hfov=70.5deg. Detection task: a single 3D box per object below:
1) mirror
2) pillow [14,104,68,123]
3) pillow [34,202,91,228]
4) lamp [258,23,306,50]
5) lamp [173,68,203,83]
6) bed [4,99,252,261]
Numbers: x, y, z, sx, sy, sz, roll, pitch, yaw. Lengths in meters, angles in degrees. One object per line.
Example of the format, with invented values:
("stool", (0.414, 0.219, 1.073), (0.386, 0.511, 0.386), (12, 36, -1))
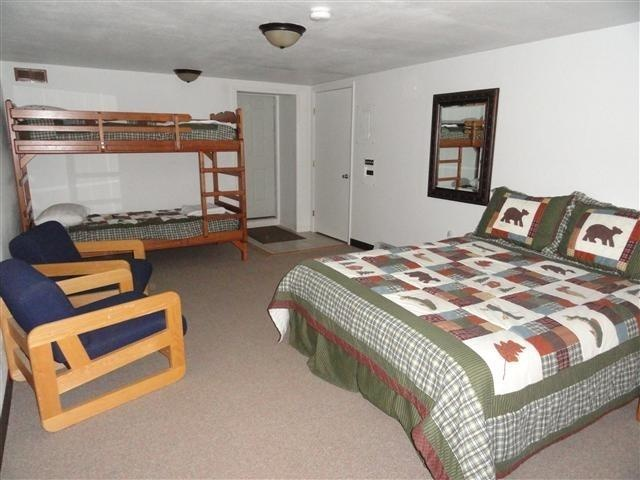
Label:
("mirror", (1.523, -1.000, 4.875), (0.188, 1.175, 0.839), (-11, 19, -33))
("pillow", (-3.071, -1.381, 4.967), (0.419, 0.220, 0.865), (-9, 17, -31))
("pillow", (-2.918, -0.288, 5.152), (0.513, 0.151, 0.515), (-7, 26, -26))
("lamp", (-0.332, -1.725, 3.801), (0.220, 0.084, 0.222), (5, 14, 24))
("lamp", (-1.718, -2.126, 5.840), (0.291, 0.126, 0.266), (9, 17, 32))
("bed", (-2.371, -0.724, 5.427), (2.221, 1.579, 0.826), (-7, 16, -28))
